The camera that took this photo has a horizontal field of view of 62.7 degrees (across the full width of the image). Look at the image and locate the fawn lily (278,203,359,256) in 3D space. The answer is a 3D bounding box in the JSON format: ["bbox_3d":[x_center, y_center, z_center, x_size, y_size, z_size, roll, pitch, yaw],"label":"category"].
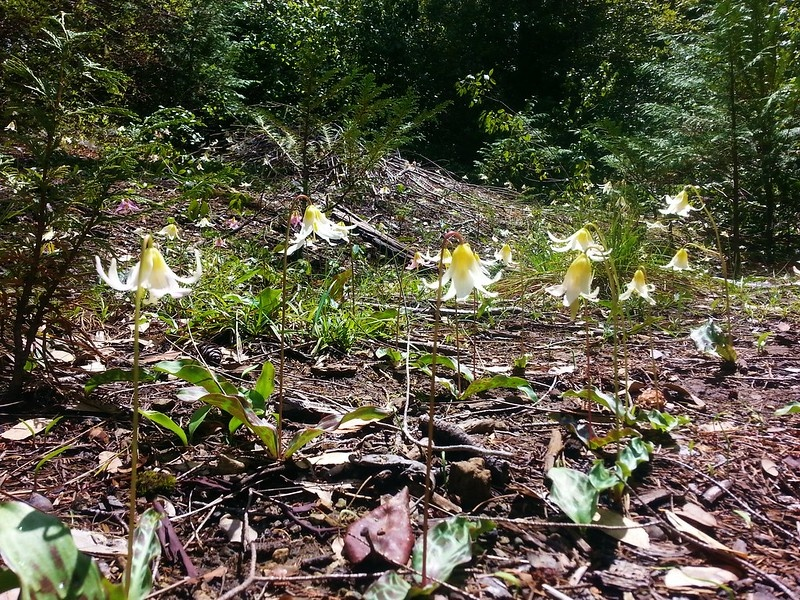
[{"bbox_3d":[-0.651,-0.537,5.188,0.587,0.303,0.591,-16,4,11],"label":"fawn lily"}]

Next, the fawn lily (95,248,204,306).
[{"bbox_3d":[-1.018,-0.093,2.715,0.305,0.148,0.281,6,5,-5],"label":"fawn lily"}]

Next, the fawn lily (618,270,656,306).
[{"bbox_3d":[1.616,-0.076,4.563,0.251,0.192,0.249,2,14,-9],"label":"fawn lily"}]
